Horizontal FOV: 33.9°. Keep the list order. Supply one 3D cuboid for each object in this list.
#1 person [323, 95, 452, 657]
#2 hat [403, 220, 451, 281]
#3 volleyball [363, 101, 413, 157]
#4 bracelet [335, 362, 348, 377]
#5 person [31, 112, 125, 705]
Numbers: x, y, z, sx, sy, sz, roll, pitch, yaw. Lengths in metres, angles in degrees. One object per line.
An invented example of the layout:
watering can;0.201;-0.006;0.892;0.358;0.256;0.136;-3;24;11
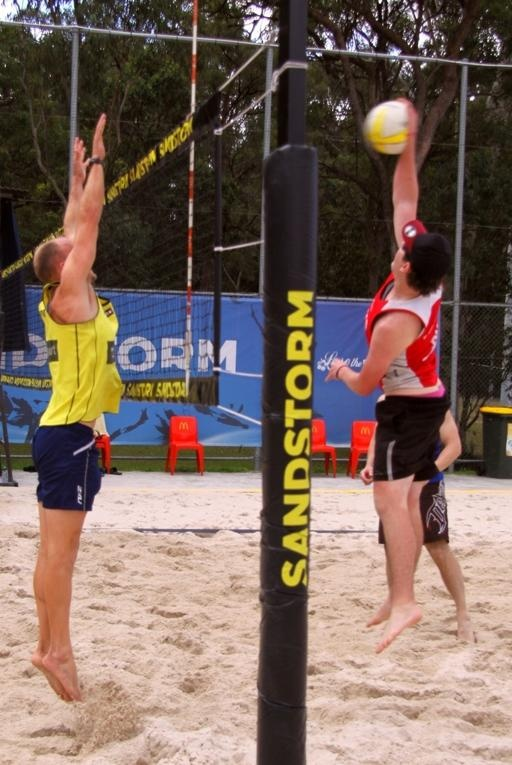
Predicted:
person;0.479;-0.031;3.032;0.462;1.891;0.515;5;17;29
hat;0.557;-0.426;2.767;0.159;0.188;0.108;4;4;18
volleyball;0.444;-0.830;2.790;0.170;0.206;0.172;-1;4;11
bracelet;0.298;-0.043;2.917;0.028;0.050;0.026;12;-4;36
person;-0.607;0.114;2.919;0.339;1.894;0.399;0;3;-24
